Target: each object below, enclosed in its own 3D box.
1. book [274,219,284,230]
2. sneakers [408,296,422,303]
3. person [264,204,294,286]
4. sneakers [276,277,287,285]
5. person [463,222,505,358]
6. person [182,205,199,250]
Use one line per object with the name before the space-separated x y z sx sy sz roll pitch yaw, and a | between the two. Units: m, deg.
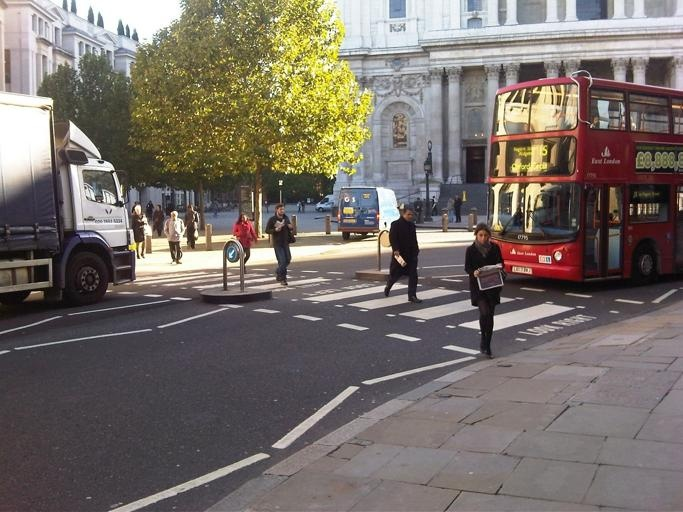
book | -1.492 -0.754 18.094 0.125 0.246 0.210 12 -7 44
sneakers | 1.601 0.936 16.268 0.312 0.173 0.120 11 20 0
person | -1.482 -0.268 18.495 0.614 2.036 0.915 0 6 5
sneakers | -1.482 0.634 18.918 0.128 0.195 0.393 -2 2 -32
person | 2.271 0.521 11.870 0.602 2.080 0.631 1 6 14
person | -6.249 -1.377 31.204 0.528 1.770 0.533 -1 34 -18
